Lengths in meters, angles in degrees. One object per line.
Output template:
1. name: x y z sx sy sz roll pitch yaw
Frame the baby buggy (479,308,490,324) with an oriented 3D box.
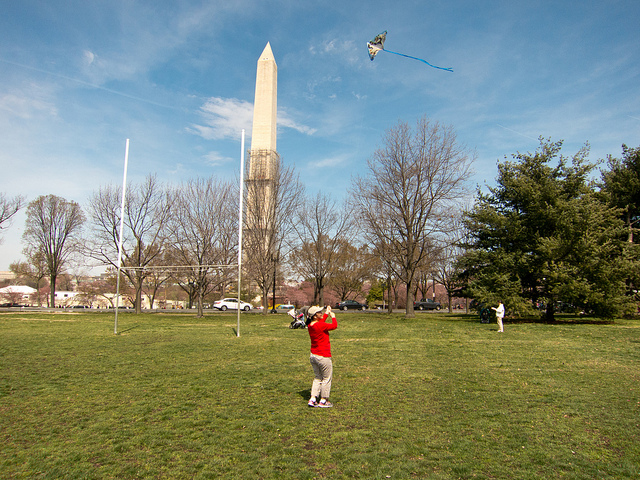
1. baby buggy: 10.025 4.568 29.376 0.485 0.947 0.712 2 2 22

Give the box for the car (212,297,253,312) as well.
1. car: -9.006 6.639 51.102 3.200 1.287 6.989 1 1 -3

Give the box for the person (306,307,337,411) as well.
1. person: 0.019 2.724 11.643 0.687 2.340 1.288 1 2 2

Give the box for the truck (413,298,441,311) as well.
1. truck: 13.155 8.048 59.887 2.202 1.248 3.406 2 1 28

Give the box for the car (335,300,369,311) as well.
1. car: 4.029 8.098 58.492 3.300 0.977 1.479 0 -2 -17
